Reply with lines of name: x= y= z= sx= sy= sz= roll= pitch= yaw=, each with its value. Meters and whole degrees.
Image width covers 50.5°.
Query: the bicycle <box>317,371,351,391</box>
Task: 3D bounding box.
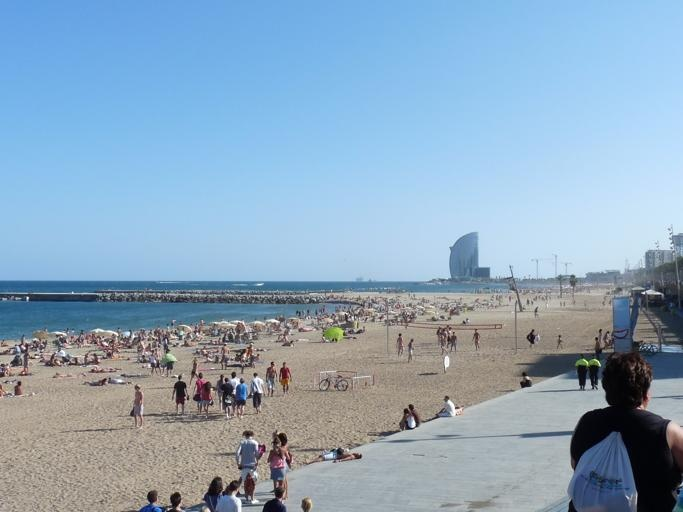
bicycle: x=-0.331 y=5.095 z=29.403 sx=1.271 sy=0.748 sz=0.645 roll=2 pitch=-2 yaw=14

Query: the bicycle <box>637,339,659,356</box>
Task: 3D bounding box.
bicycle: x=13.773 y=4.141 z=32.738 sx=0.641 sy=0.341 sz=0.919 roll=0 pitch=4 yaw=15
